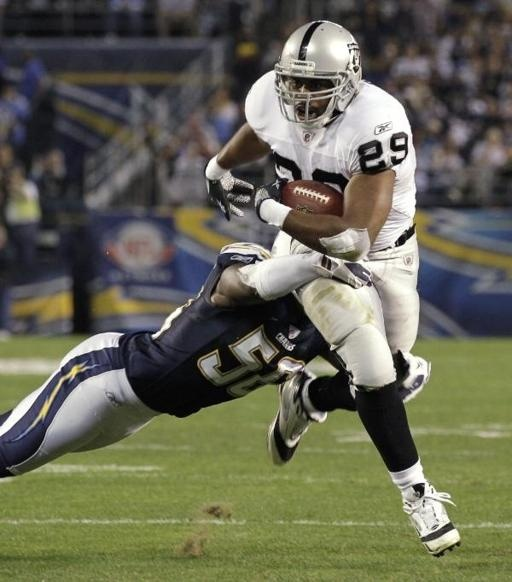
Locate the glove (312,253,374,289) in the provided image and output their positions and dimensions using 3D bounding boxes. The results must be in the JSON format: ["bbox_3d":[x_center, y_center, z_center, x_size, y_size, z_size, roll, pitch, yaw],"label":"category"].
[{"bbox_3d":[0.258,-0.056,2.388,0.181,0.064,0.090,17,-2,-9],"label":"glove"}]

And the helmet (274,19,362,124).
[{"bbox_3d":[0.209,-0.705,2.603,0.284,0.269,0.338,15,39,24],"label":"helmet"}]

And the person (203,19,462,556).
[{"bbox_3d":[0.297,-0.070,2.691,0.728,1.703,0.898,1,-1,-1],"label":"person"}]

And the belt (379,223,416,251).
[{"bbox_3d":[0.495,-0.177,2.684,0.125,0.031,0.084,-23,6,18],"label":"belt"}]

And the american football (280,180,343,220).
[{"bbox_3d":[0.165,-0.267,2.416,0.202,0.087,0.100,14,11,16],"label":"american football"}]
